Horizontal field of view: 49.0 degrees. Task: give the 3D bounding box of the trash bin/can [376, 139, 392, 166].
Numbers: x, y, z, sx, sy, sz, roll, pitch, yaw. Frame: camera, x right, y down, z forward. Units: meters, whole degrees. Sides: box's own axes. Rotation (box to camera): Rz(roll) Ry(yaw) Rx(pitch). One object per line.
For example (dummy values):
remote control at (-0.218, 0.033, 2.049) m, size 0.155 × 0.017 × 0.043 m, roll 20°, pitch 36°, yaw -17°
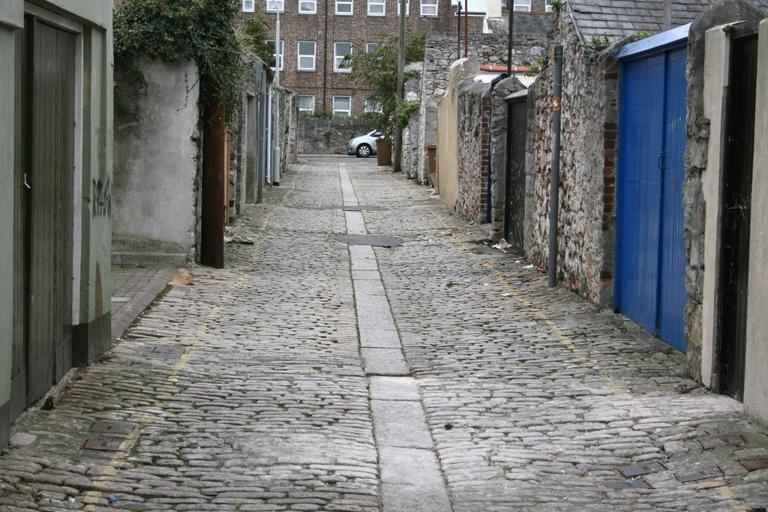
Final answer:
trash bin/can at (-0.009, -4.751, 38.235) m, size 0.562 × 1.277 × 1.294 m, roll -1°, pitch 12°, yaw -11°
